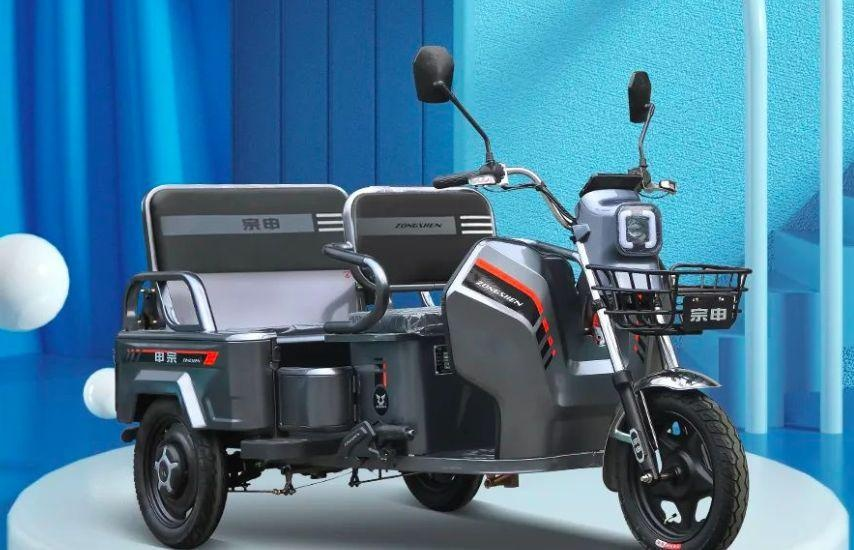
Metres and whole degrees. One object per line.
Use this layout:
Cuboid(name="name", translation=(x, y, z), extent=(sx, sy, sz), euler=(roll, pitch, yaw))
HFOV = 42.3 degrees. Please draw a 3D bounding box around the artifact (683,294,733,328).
Cuboid(name="artifact", translation=(1.489, 0.172, 5.312), extent=(0.286, 0.174, 0.147), euler=(-1, 8, -15))
